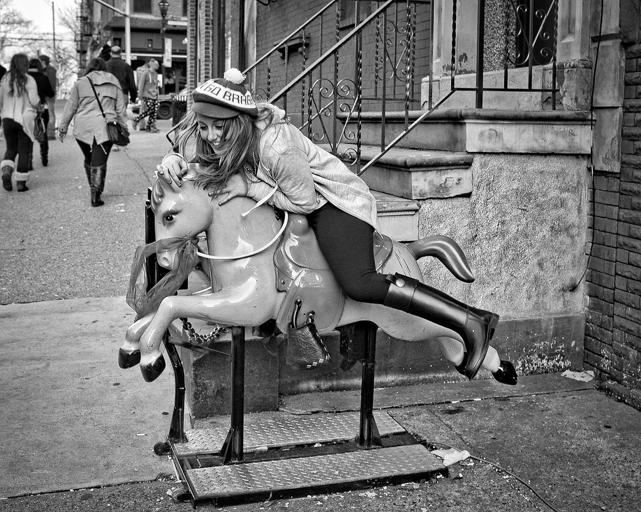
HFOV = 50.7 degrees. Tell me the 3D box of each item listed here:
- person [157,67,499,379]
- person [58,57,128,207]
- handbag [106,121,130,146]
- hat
[{"bbox_3d":[0.109,-0.205,3.770,1.746,1.394,0.702,12,14,-11],"label":"person"},{"bbox_3d":[-3.056,-1.670,9.252,0.850,1.948,0.570,-4,14,-22],"label":"person"},{"bbox_3d":[-2.799,-1.687,9.366,0.101,0.342,0.453,4,-1,24],"label":"handbag"},{"bbox_3d":[-0.471,-0.782,3.340,0.218,0.184,0.296,27,23,24],"label":"hat"}]
